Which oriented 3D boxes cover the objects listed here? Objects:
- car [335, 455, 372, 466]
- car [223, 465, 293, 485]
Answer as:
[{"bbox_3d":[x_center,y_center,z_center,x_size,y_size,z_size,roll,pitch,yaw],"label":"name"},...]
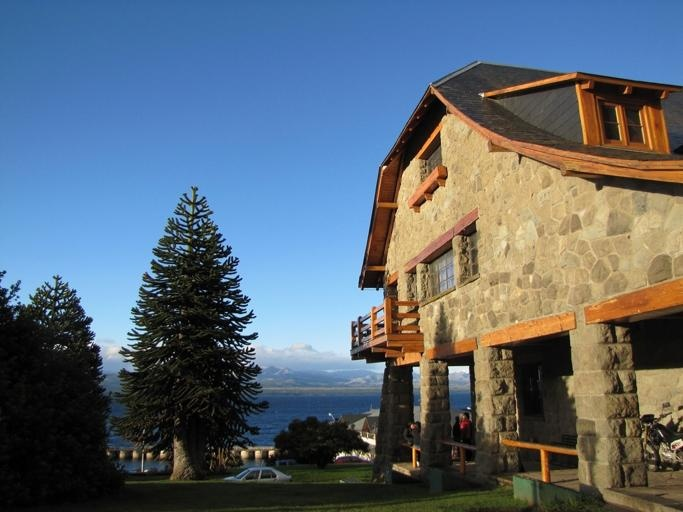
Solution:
[{"bbox_3d":[0.850,15.834,47.536,2.514,0.631,1.968,0,-10,2],"label":"car"},{"bbox_3d":[-3.346,9.118,25.385,3.169,0.811,1.248,2,-21,1],"label":"car"}]
